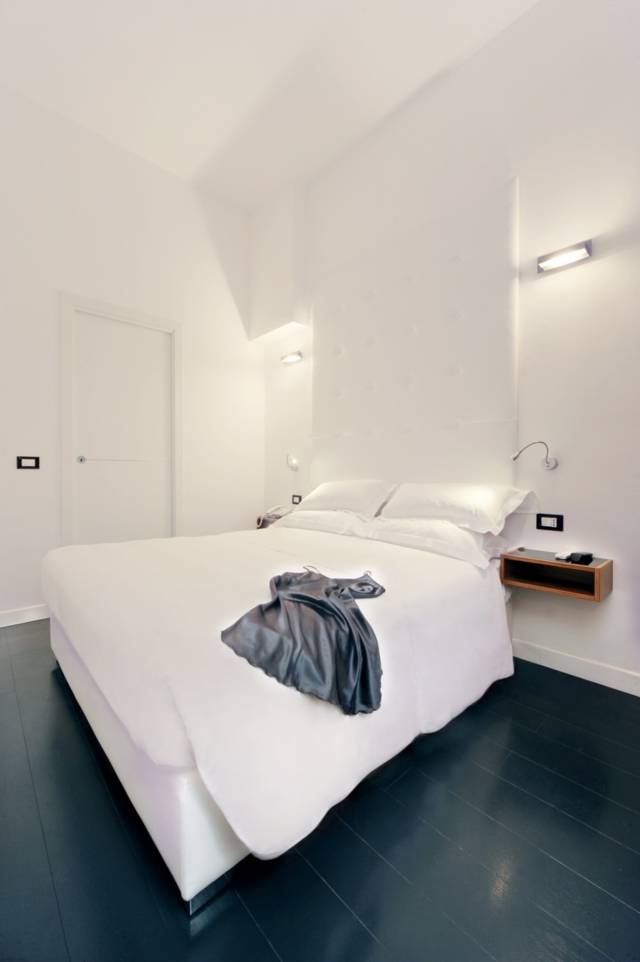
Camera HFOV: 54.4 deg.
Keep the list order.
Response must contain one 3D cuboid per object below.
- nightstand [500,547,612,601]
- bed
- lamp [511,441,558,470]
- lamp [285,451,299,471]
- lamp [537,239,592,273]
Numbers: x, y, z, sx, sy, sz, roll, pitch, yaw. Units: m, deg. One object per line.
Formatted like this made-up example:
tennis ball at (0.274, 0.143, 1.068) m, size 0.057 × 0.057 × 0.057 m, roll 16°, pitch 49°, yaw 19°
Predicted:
nightstand at (1.006, 0.409, 2.689) m, size 0.449 × 0.238 × 0.251 m, roll 11°, pitch 16°, yaw 43°
bed at (-0.249, 0.521, 2.515) m, size 1.656 × 0.583 × 1.739 m, roll -11°, pitch 16°, yaw -42°
lamp at (0.994, -0.126, 2.884) m, size 0.030 × 0.130 × 0.249 m, roll -6°, pitch 13°, yaw -29°
lamp at (-0.202, -0.125, 4.816) m, size 0.085 × 0.186 × 0.170 m, roll -2°, pitch -5°, yaw 25°
lamp at (1.049, -0.984, 2.743) m, size 0.090 × 0.122 × 0.274 m, roll -8°, pitch 14°, yaw -35°
